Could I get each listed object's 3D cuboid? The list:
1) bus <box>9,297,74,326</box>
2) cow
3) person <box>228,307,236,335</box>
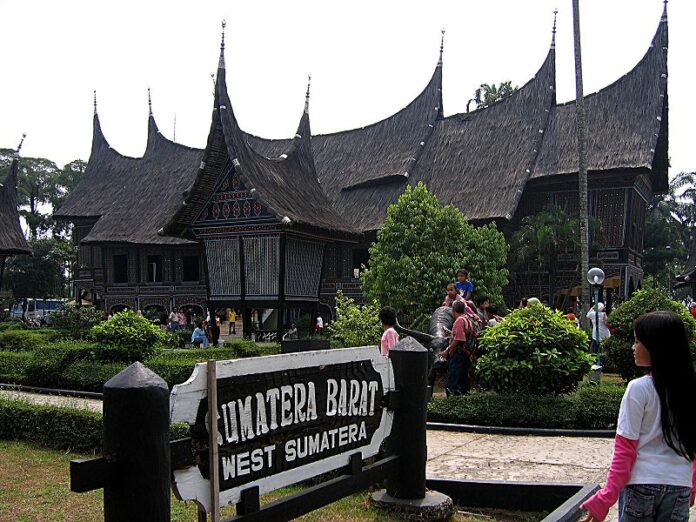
[{"bbox_3d":[-20.127,3.286,46.294,1.701,2.169,5.318,-1,-7,2],"label":"bus"},{"bbox_3d":[1.699,1.598,13.467,1.199,1.537,2.692,3,8,8],"label":"cow"},{"bbox_3d":[-5.278,2.776,32.571,0.349,1.160,1.923,1,-3,-9],"label":"person"}]
